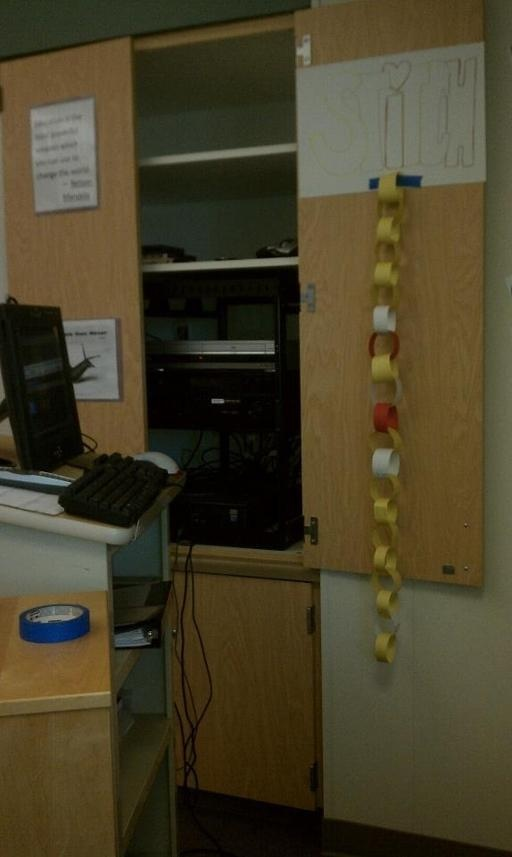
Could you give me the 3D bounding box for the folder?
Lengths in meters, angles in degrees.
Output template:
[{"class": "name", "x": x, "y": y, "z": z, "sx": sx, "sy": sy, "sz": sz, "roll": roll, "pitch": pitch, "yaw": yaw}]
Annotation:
[{"class": "folder", "x": -0.228, "y": 0.365, "z": 1.442, "sx": 0.161, "sy": 0.058, "sz": 0.197, "roll": 0, "pitch": -3, "yaw": -4}]
